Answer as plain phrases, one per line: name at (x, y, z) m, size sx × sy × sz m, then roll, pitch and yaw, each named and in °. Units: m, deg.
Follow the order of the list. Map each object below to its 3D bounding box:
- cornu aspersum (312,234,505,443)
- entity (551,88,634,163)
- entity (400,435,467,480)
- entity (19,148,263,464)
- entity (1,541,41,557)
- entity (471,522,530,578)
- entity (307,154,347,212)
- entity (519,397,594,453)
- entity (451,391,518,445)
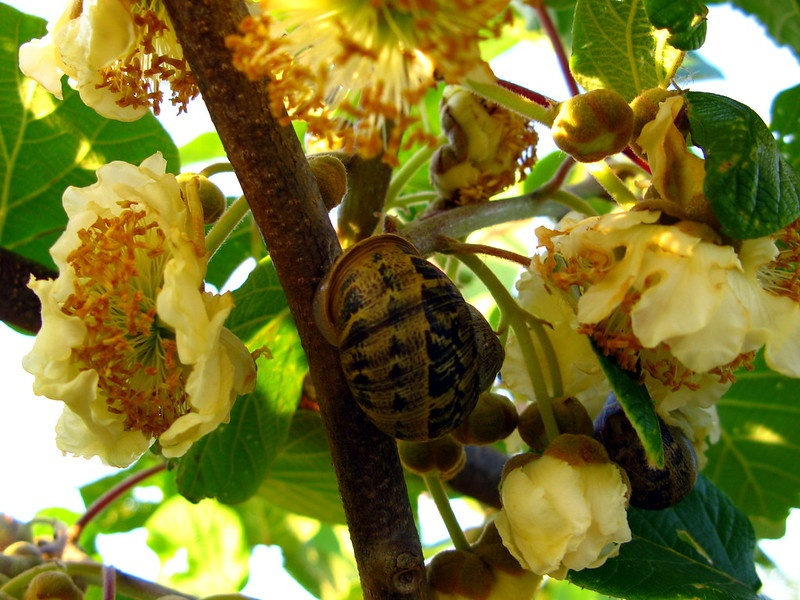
cornu aspersum at (-0.025, 0.054, 1.219) m, size 0.220 × 0.239 × 0.126 m, roll -36°, pitch 4°, yaw -19°
entity at (0.234, -0.207, 1.171) m, size 0.097 × 0.085 × 0.065 m, roll 3°, pitch -44°, yaw 12°
entity at (0.044, 0.218, 1.343) m, size 0.083 × 0.037 × 0.056 m, roll 11°, pitch -74°, yaw -6°
entity at (-0.352, 0.026, 1.281) m, size 0.404 × 0.377 × 0.188 m, roll -9°, pitch -1°, yaw -17°
entity at (-0.601, 0.391, 1.532) m, size 0.038 × 0.015 × 0.031 m, roll 19°, pitch -11°, yaw -28°
entity at (0.126, 0.331, 1.268) m, size 0.030 × 0.070 × 0.056 m, roll -11°, pitch -37°, yaw -44°
entity at (-0.105, -0.154, 1.268) m, size 0.065 × 0.065 × 0.032 m, roll 16°, pitch -30°, yaw -39°
entity at (0.199, 0.174, 1.300) m, size 0.053 × 0.064 × 0.094 m, roll -5°, pitch -1°, yaw 41°
entity at (0.102, 0.165, 1.346) m, size 0.090 × 0.045 × 0.069 m, roll -22°, pitch -27°, yaw 16°
